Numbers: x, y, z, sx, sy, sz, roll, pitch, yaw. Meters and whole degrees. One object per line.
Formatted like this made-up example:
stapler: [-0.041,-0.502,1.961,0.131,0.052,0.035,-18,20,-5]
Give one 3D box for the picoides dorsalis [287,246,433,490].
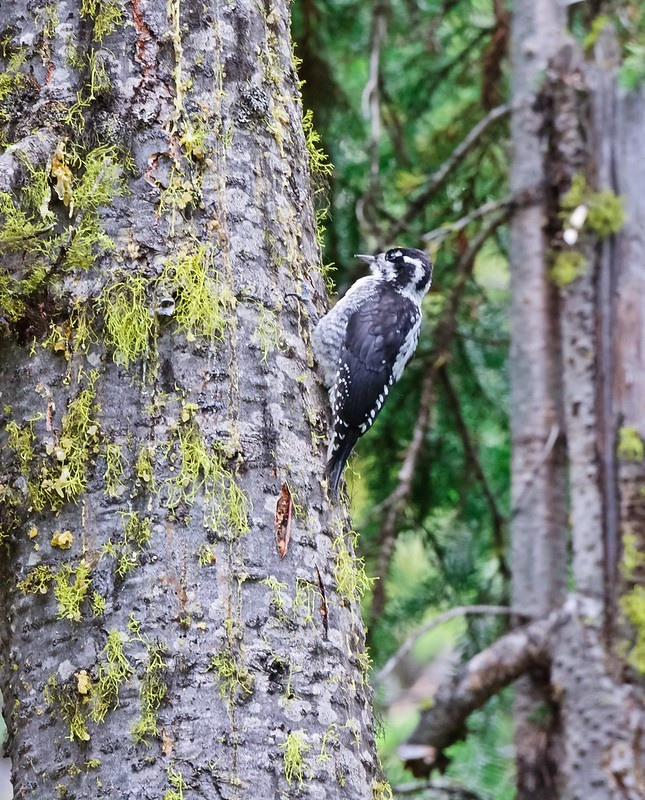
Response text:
picoides dorsalis: [0.147,-0.099,5.681,0.468,0.341,0.886,29,60,2]
